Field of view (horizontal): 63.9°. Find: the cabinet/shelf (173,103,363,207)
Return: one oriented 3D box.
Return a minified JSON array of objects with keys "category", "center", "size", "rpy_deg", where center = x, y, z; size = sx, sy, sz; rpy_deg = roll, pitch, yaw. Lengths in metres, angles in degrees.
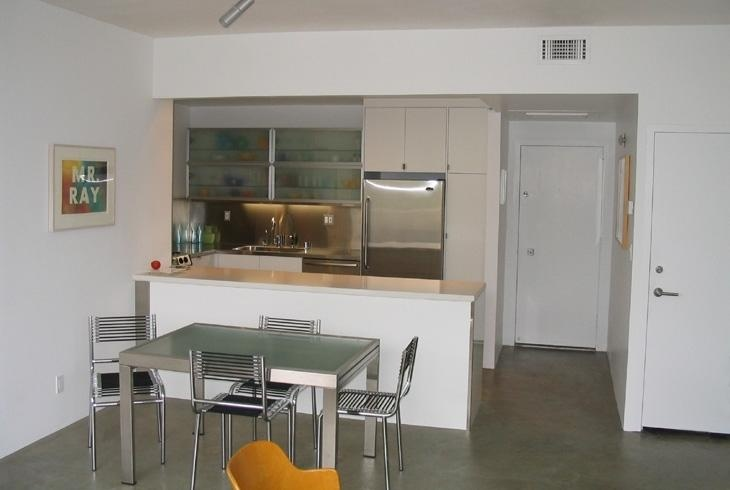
[{"category":"cabinet/shelf","center":[-1.281,-1.055,8.331],"size":[2.411,1.165,0.420],"rpy_deg":[0,-19,-7]}]

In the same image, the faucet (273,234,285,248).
[{"category":"faucet","center":[-1.288,-0.062,8.784],"size":[0.199,0.193,0.192],"rpy_deg":[1,0,6]}]

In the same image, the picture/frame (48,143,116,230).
[{"category":"picture/frame","center":[-2.754,-0.570,5.656],"size":[0.084,0.796,0.827],"rpy_deg":[5,7,24]}]
